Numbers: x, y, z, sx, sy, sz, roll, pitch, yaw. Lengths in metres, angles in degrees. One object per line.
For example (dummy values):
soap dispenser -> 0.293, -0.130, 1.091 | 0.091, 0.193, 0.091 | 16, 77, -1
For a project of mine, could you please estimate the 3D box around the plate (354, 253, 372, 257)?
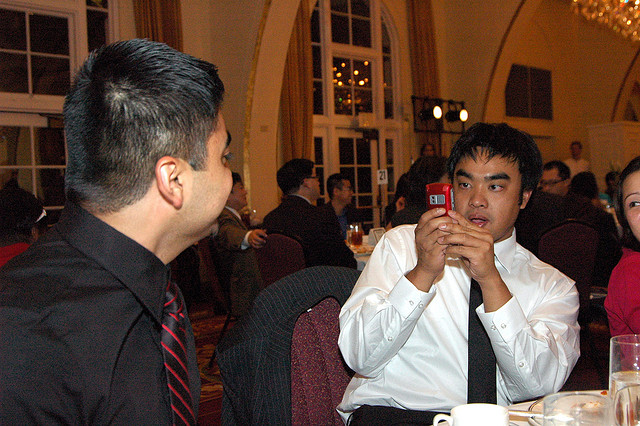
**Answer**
plate -> 0.361, 0.358, 4.303 | 0.193, 0.019, 0.055 | 0, 4, -28

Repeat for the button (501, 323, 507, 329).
button -> 0.610, 0.373, 1.657 | 0.018, 0.019, 0.004 | 0, -2, 8

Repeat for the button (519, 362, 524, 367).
button -> 0.673, 0.504, 1.668 | 0.017, 0.017, 0.005 | 0, -7, 15

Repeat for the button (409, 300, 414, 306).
button -> 0.312, 0.308, 1.713 | 0.015, 0.015, 0.004 | 3, -3, -19

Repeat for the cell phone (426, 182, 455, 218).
cell phone -> 0.423, -0.048, 1.765 | 0.098, 0.117, 0.179 | 2, 4, 12

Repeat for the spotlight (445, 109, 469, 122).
spotlight -> 2.382, -1.704, 8.706 | 0.264, 0.232, 0.484 | 0, 4, -29
